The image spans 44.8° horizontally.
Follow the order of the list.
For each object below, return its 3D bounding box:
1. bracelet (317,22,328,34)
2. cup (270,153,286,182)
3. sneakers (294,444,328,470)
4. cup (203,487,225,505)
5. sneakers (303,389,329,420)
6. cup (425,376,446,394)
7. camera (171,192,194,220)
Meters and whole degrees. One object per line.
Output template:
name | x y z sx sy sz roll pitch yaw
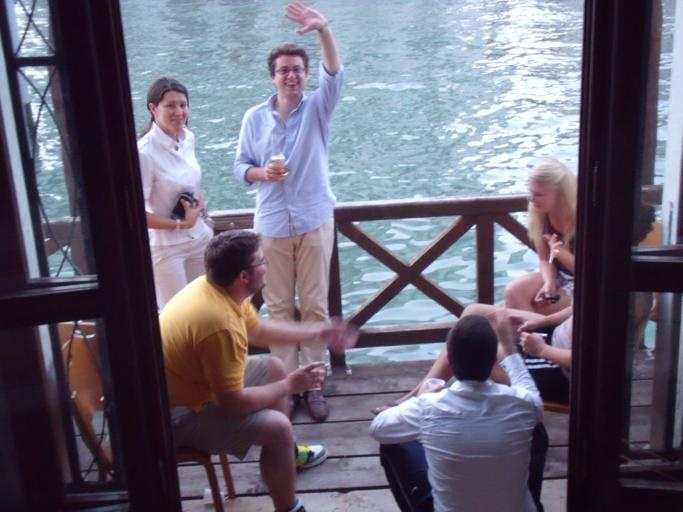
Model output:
bracelet | -0.093 -1.080 3.952 0.041 0.050 0.031 17 -17 -30
cup | -0.304 -0.436 4.010 0.076 0.130 0.140 -3 9 3
sneakers | -0.145 0.899 3.719 0.187 0.080 0.064 -9 23 -26
cup | -0.557 1.043 3.579 0.084 0.041 0.079 7 37 -6
sneakers | -0.123 0.741 4.144 0.084 0.087 0.221 -13 20 -20
cup | 0.394 0.539 3.483 0.080 0.052 0.045 -5 24 -8
camera | -0.787 -0.244 4.064 0.083 0.137 0.076 28 12 4
